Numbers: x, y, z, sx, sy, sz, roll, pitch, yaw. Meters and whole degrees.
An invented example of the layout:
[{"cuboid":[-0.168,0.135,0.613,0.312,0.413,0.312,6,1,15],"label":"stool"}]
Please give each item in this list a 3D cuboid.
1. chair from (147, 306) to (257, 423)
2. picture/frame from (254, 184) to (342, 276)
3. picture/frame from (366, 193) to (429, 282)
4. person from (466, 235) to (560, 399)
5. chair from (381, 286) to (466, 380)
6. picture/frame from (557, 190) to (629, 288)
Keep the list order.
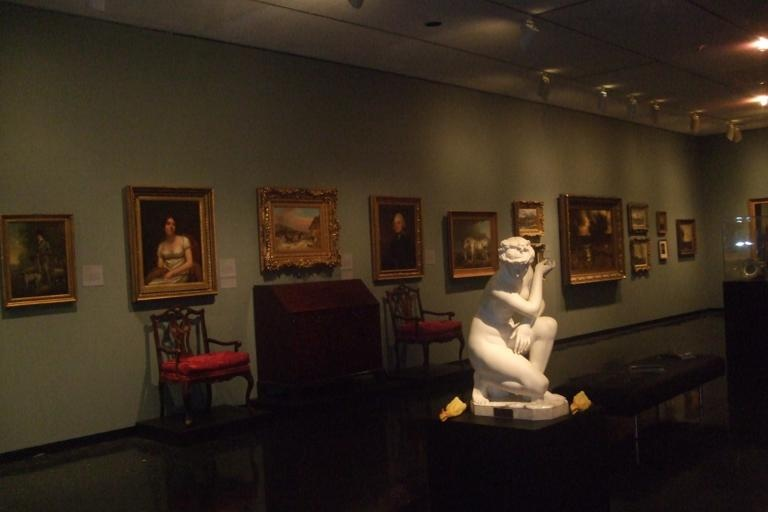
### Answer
[{"cuboid":[-2.801,1.620,9.142,1.225,1.190,1.156,-5,4,-37],"label":"chair"},{"cuboid":[-1.561,-0.456,10.440,1.514,1.463,0.139,-3,1,-35],"label":"picture/frame"},{"cuboid":[0.311,-0.325,11.704,1.226,1.728,0.124,-1,-2,39],"label":"picture/frame"},{"cuboid":[1.413,0.674,6.203,0.959,1.765,0.928,5,10,41],"label":"person"},{"cuboid":[0.833,1.369,11.531,1.208,1.710,1.132,0,-5,-39],"label":"chair"},{"cuboid":[5.517,-0.434,15.457,2.453,2.246,0.275,-2,-2,-35],"label":"picture/frame"}]
